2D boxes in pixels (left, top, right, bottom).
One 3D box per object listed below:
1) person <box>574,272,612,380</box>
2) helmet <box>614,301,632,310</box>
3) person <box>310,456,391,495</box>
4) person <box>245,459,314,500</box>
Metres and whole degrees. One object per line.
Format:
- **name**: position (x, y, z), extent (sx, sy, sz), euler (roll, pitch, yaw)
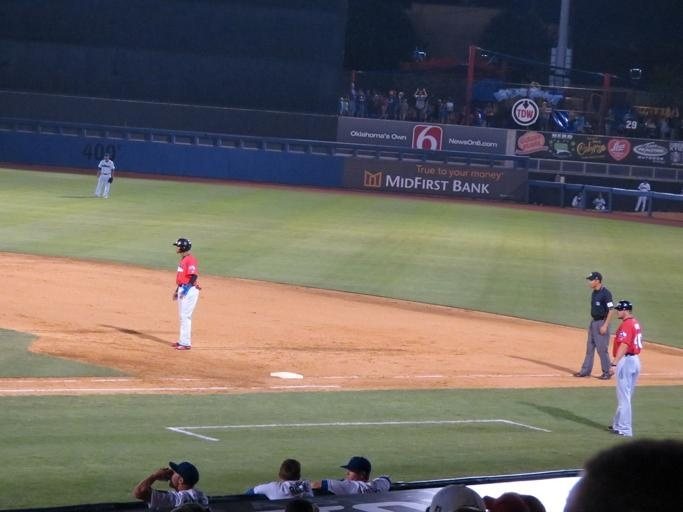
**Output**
- **person**: position (9.346, 2.553, 58.309), extent (1.195, 3.913, 1.012), euler (2, 4, 9)
- **helmet**: position (9.901, 1.731, 55.918), extent (0.568, 0.284, 0.355), euler (4, 5, 16)
- **person**: position (0.382, 6.953, 50.408), extent (2.402, 1.121, 0.850), euler (1, 3, 2)
- **person**: position (-1.833, 6.994, 50.003), extent (1.865, 1.191, 0.675), euler (1, 3, 0)
